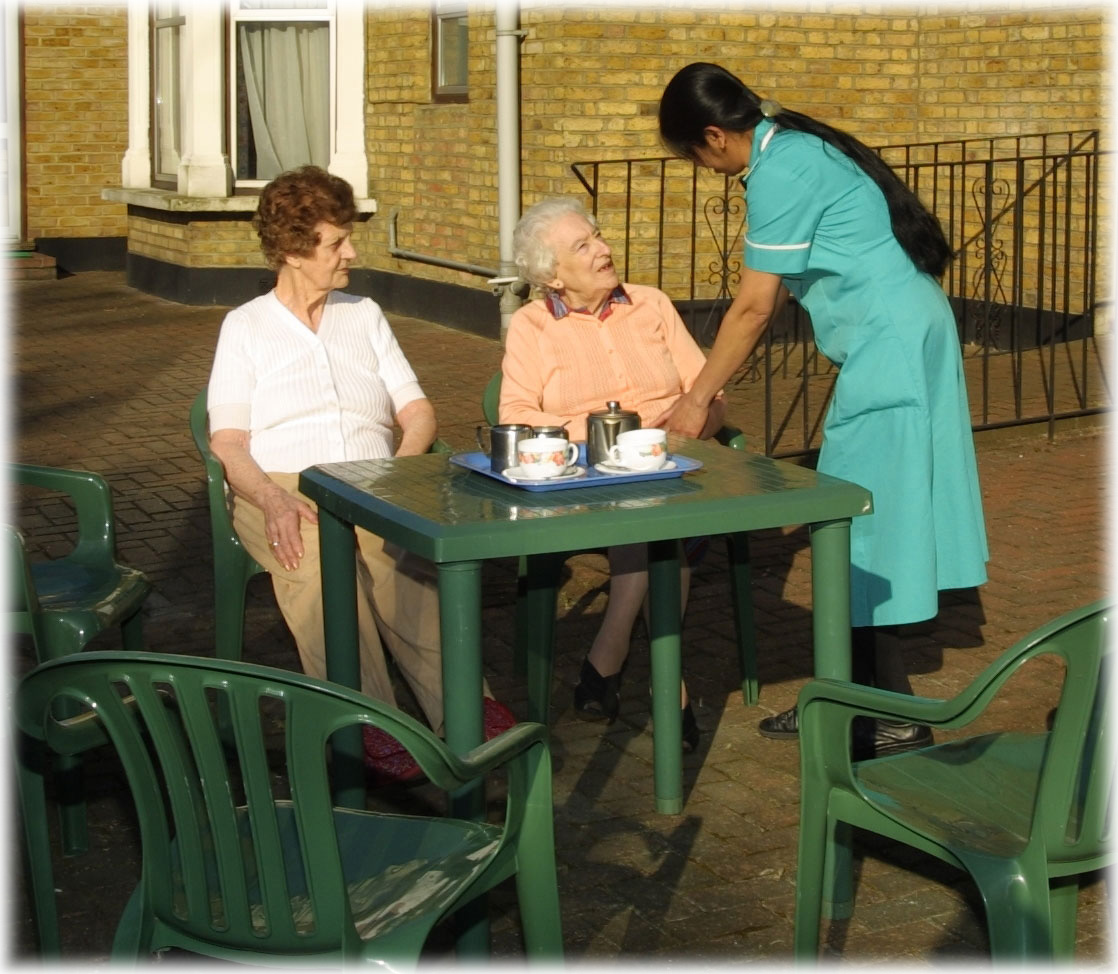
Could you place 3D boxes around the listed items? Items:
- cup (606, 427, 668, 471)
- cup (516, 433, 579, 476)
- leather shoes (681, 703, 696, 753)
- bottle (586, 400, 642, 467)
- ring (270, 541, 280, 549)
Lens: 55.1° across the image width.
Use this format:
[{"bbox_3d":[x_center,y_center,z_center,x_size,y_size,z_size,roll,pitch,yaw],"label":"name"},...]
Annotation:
[{"bbox_3d":[0.205,-0.095,2.697,0.138,0.087,0.100,-11,11,-15],"label":"cup"},{"bbox_3d":[-0.029,-0.083,2.575,0.122,0.074,0.097,3,7,19],"label":"cup"},{"bbox_3d":[0.431,0.792,3.532,0.055,0.139,0.057,-5,-21,7],"label":"leather shoes"},{"bbox_3d":[0.115,-0.145,2.836,0.140,0.174,0.172,0,3,-2],"label":"bottle"},{"bbox_3d":[-0.878,0.171,3.296,0.025,0.022,0.006,0,0,-5],"label":"ring"}]
